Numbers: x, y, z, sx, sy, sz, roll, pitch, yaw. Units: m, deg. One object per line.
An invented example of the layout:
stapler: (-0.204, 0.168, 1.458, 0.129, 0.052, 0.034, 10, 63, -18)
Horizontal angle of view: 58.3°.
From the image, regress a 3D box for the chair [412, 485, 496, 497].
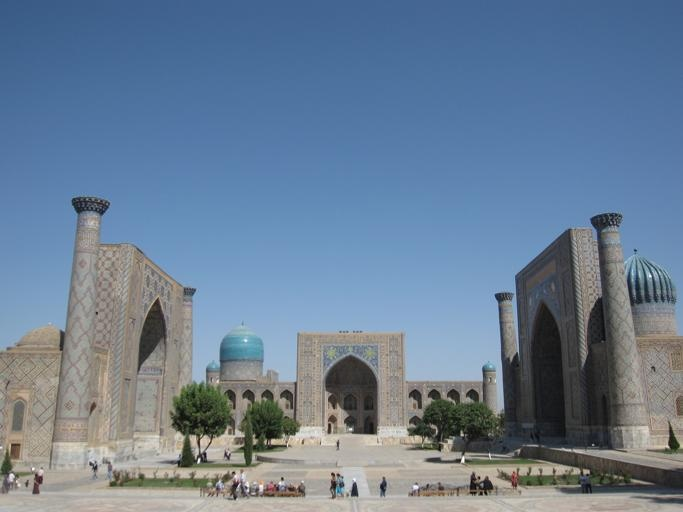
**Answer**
chair: (3.473, 7.164, 18.686, 2.970, 0.341, 0.325, -3, -24, 2)
